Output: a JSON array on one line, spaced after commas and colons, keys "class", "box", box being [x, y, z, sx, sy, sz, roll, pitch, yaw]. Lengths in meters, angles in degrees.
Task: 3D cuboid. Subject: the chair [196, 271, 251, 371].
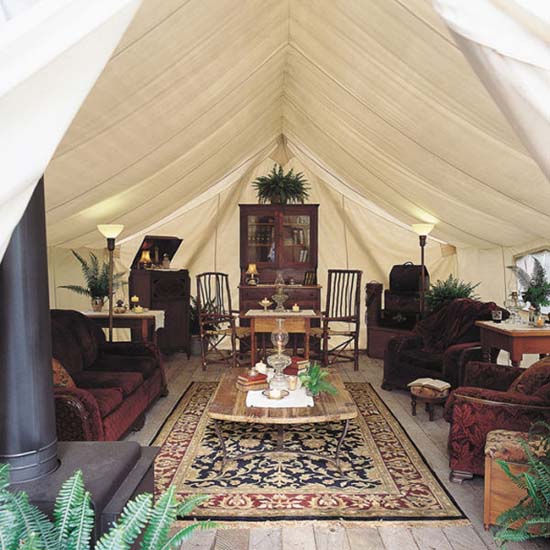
[{"class": "chair", "box": [-0.750, 0.543, 6.965, 0.659, 1.229, 2.108, -1, 4, -7]}]

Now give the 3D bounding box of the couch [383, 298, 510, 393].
[{"class": "couch", "box": [1.627, 0.667, 4.956, 1.048, 1.079, 1.142, 5, -4, -21]}]

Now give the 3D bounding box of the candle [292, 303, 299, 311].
[{"class": "candle", "box": [0.255, 0.392, 6.211, 0.089, 0.085, 0.079, 2, -1, -4]}]

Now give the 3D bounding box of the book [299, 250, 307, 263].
[{"class": "book", "box": [0.414, -0.296, 7.361, 0.181, 0.156, 0.042, 2, -3, 4]}]

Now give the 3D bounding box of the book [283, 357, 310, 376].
[{"class": "book", "box": [0.159, 0.719, 3.985, 0.137, 0.095, 0.290, 1, 4, 21]}]

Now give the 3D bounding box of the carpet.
[{"class": "carpet", "box": [0.053, 1.250, 3.637, 2.021, 0.089, 1.842, 0, 4, 0]}]

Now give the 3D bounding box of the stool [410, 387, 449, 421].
[{"class": "stool", "box": [1.332, 1.063, 4.292, 0.383, 0.234, 0.351, 0, -1, 2]}]

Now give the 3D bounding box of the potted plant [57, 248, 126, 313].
[{"class": "potted plant", "box": [-2.114, 0.068, 5.992, 0.838, 0.604, 0.709, 2, 1, -17]}]

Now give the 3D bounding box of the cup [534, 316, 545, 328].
[{"class": "cup", "box": [2.145, 0.374, 4.070, 0.093, 0.088, 0.086, 1, -2, 0]}]

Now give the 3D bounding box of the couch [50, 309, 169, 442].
[{"class": "couch", "box": [-1.340, 0.802, 4.031, 0.495, 0.450, 1.140, -1, 3, -7]}]

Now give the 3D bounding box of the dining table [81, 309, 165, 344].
[{"class": "dining table", "box": [-1.686, 0.514, 5.769, 0.659, 0.516, 0.513, 0, 1, 1]}]

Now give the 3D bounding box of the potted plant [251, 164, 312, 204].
[{"class": "potted plant", "box": [0.076, -1.405, 7.592, 0.884, 0.665, 0.657, 0, 4, 1]}]

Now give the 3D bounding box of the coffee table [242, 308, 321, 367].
[{"class": "coffee table", "box": [0.061, 0.724, 5.878, 0.872, 0.591, 0.666, -1, 4, -2]}]

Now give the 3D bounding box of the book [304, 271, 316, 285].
[{"class": "book", "box": [0.508, 0.036, 7.331, 0.219, 0.188, 0.049, 3, -4, 3]}]

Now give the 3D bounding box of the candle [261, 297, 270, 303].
[{"class": "candle", "box": [-0.118, 0.317, 6.356, 0.070, 0.065, 0.064, -1, 4, -22]}]

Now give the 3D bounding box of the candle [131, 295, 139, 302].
[{"class": "candle", "box": [-1.731, 0.278, 6.107, 0.106, 0.089, 0.069, 1, 6, 4]}]
